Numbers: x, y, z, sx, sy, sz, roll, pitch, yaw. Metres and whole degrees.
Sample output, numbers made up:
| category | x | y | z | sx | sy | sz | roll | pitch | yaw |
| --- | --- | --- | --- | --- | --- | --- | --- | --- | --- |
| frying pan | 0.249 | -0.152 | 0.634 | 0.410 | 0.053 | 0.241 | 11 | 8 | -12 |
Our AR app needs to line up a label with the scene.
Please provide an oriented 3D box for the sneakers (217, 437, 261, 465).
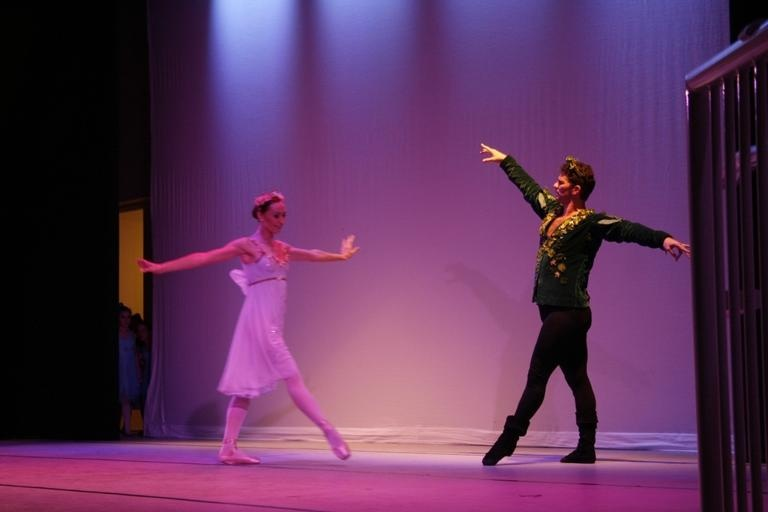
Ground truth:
| category | x | y | z | sx | sy | sz | roll | pitch | yaw |
| --- | --- | --- | --- | --- | --- | --- | --- | --- | --- |
| sneakers | -0.930 | 1.325 | 4.475 | 0.347 | 0.211 | 0.123 | 1 | -7 | -5 |

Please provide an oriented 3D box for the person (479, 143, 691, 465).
| category | x | y | z | sx | sy | sz | roll | pitch | yaw |
| --- | --- | --- | --- | --- | --- | --- | --- | --- | --- |
| person | 1.140 | 0.299 | 4.206 | 1.126 | 2.108 | 0.680 | 0 | -2 | 25 |
